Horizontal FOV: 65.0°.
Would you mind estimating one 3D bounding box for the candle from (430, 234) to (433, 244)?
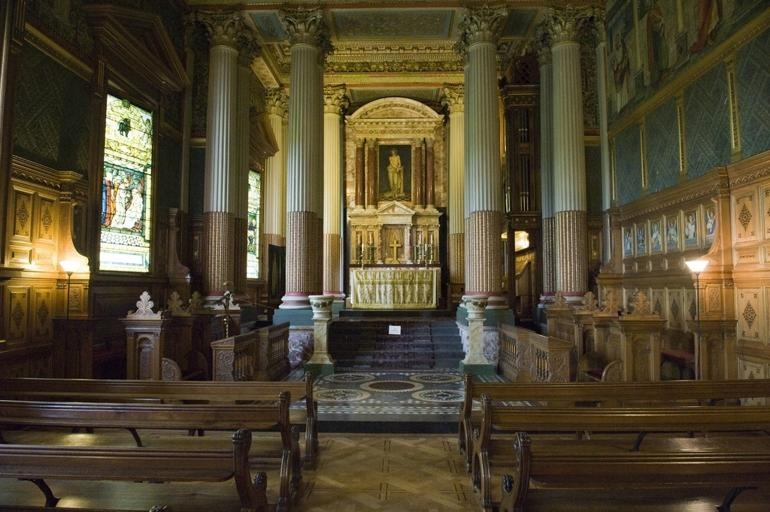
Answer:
[{"bbox_3d":[1.536,-0.558,19.680,0.126,0.333,0.129,4,-6,-35],"label":"candle"}]

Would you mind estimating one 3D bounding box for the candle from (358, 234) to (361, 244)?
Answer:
[{"bbox_3d":[-0.791,-0.571,19.598,0.142,0.355,0.083,-1,-5,23],"label":"candle"}]

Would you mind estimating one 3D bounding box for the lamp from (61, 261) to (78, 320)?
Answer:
[{"bbox_3d":[-5.312,0.544,10.073,0.195,1.010,0.308,3,-6,-27],"label":"lamp"}]

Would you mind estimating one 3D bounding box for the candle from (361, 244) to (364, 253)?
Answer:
[{"bbox_3d":[-0.697,-0.250,19.415,0.079,0.254,0.126,2,-5,-15],"label":"candle"}]

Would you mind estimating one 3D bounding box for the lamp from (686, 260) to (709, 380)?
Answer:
[{"bbox_3d":[5.437,1.043,10.355,0.335,2.077,1.452,-2,-6,28],"label":"lamp"}]

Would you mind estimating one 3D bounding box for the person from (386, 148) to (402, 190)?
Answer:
[{"bbox_3d":[0.381,-2.879,20.527,0.573,1.502,0.185,1,-5,0],"label":"person"}]

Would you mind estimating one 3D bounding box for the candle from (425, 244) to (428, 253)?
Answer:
[{"bbox_3d":[1.385,-0.253,19.531,0.097,0.200,0.061,1,-5,1],"label":"candle"}]

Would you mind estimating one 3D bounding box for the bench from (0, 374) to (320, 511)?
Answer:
[{"bbox_3d":[-2.951,2.150,8.037,4.061,1.137,2.327,1,-5,0],"label":"bench"}]
